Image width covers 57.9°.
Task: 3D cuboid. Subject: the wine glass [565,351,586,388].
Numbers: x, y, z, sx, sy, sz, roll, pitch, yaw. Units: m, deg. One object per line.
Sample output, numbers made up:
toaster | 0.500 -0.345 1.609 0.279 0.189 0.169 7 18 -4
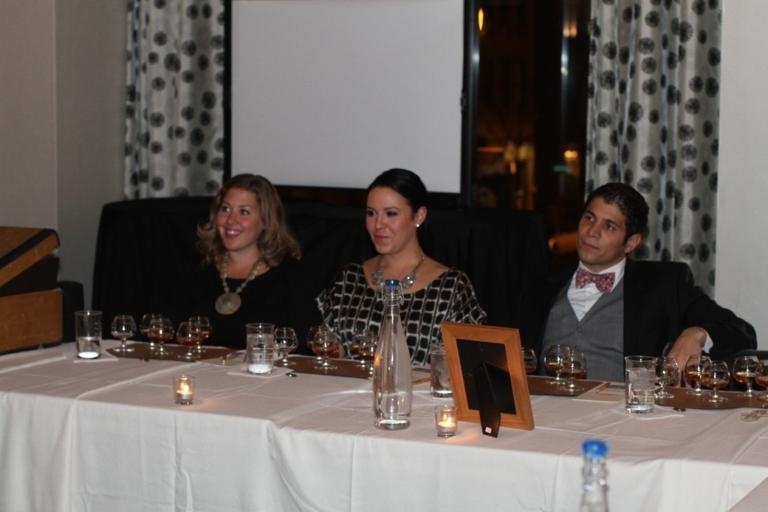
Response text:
wine glass | 0.688 0.410 2.528 0.086 0.150 0.097 1 8 25

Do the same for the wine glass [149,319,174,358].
wine glass | -0.930 0.327 2.892 0.090 0.156 0.101 -3 11 -29

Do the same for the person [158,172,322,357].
person | -0.768 0.070 3.661 0.920 1.002 0.532 2 -4 22

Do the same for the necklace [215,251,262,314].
necklace | -0.772 0.103 3.690 0.189 0.049 0.338 -14 -17 -32

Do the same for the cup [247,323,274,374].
cup | -0.483 0.354 2.688 0.105 0.193 0.111 1 2 0

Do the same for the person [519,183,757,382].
person | 1.231 0.124 3.268 0.772 1.299 0.415 -4 -16 26

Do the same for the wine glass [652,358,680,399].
wine glass | 0.987 0.421 2.422 0.106 0.155 0.122 0 0 -2

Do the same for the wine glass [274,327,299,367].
wine glass | -0.399 0.359 2.792 0.125 0.151 0.130 0 5 -16

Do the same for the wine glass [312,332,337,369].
wine glass | -0.239 0.369 2.750 0.119 0.200 0.123 0 -1 -5

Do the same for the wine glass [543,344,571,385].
wine glass | 0.640 0.380 2.548 0.103 0.132 0.103 -6 9 -8

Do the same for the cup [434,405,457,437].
cup | 0.181 0.482 2.035 0.070 0.089 0.075 0 -2 0

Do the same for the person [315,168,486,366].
person | 0.086 0.060 3.356 0.908 1.262 0.471 -2 -8 23

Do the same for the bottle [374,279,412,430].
bottle | 0.024 0.291 2.159 0.117 0.439 0.208 -1 3 -1

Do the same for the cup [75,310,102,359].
cup | -1.219 0.329 2.864 0.107 0.194 0.113 2 5 0

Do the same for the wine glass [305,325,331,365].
wine glass | -0.252 0.355 2.778 0.121 0.193 0.130 -1 1 -3

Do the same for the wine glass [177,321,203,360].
wine glass | -0.813 0.344 2.899 0.095 0.162 0.103 1 14 -18

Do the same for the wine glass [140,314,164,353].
wine glass | -0.977 0.314 2.905 0.086 0.140 0.091 14 10 31

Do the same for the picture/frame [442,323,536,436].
picture/frame | 0.308 0.386 2.126 0.245 0.305 0.020 -11 -4 35

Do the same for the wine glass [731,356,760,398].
wine glass | 1.251 0.408 2.384 0.085 0.135 0.087 -3 -5 -14

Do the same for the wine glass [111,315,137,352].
wine glass | -1.107 0.323 2.939 0.091 0.147 0.097 1 2 -7

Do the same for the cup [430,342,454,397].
cup | 0.176 0.407 2.388 0.095 0.171 0.125 5 -13 -26

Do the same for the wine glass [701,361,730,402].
wine glass | 1.131 0.424 2.366 0.083 0.136 0.090 -1 -2 23
